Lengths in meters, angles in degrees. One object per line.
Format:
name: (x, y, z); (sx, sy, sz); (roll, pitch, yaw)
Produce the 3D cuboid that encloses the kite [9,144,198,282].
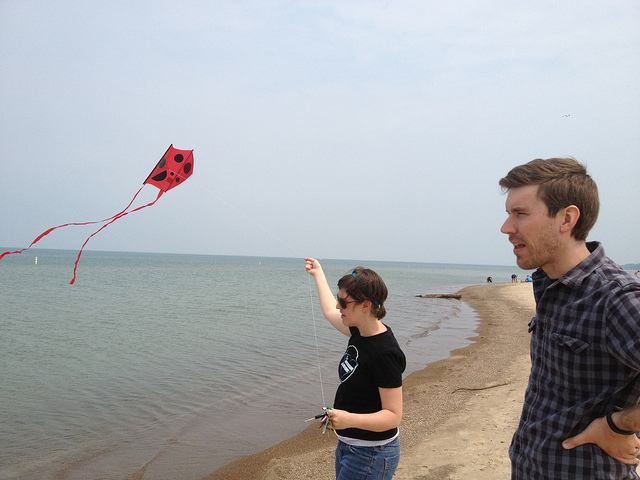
kite: (-2.689, -0.277, 6.710); (2.832, 1.066, 0.114); (-33, -19, -2)
